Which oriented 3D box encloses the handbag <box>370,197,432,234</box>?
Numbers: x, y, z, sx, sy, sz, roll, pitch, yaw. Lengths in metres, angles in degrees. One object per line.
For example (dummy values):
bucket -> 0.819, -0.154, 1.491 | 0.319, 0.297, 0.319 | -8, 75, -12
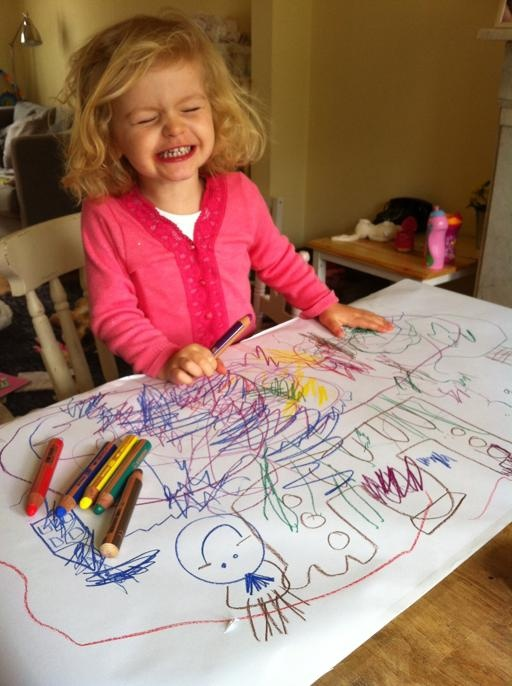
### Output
handbag -> 0.549, -0.482, 2.217 | 0.210, 0.100, 0.138 | 11, 19, 33
